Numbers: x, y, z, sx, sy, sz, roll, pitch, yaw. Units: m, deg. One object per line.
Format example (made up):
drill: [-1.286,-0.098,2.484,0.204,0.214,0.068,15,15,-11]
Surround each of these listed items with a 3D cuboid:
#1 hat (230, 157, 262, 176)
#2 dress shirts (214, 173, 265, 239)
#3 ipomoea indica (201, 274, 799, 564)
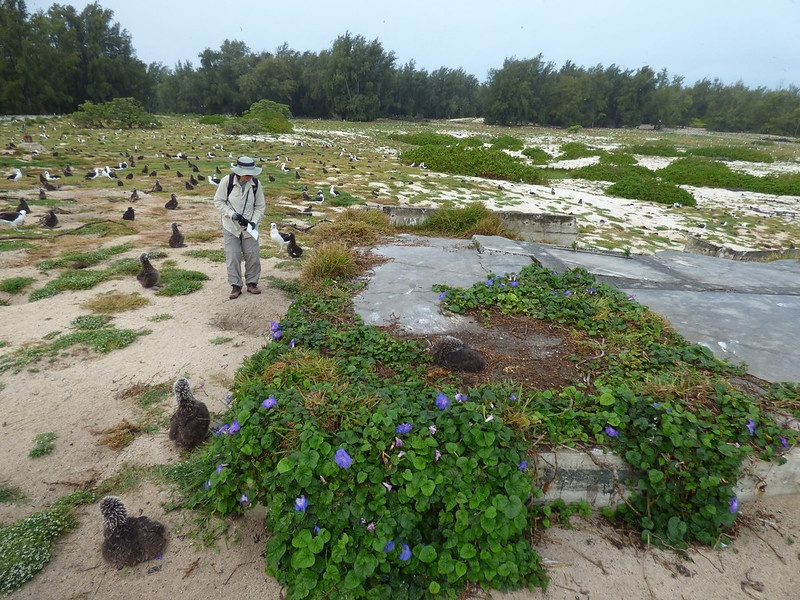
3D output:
hat: [-2.390,-2.080,7.697,0.352,0.182,0.371,28,34,29]
dress shirts: [-2.609,-1.550,7.965,0.774,0.986,0.637,-5,34,-31]
ipomoea indica: [1.001,1.032,5.957,6.437,1.706,4.347,-2,25,-15]
